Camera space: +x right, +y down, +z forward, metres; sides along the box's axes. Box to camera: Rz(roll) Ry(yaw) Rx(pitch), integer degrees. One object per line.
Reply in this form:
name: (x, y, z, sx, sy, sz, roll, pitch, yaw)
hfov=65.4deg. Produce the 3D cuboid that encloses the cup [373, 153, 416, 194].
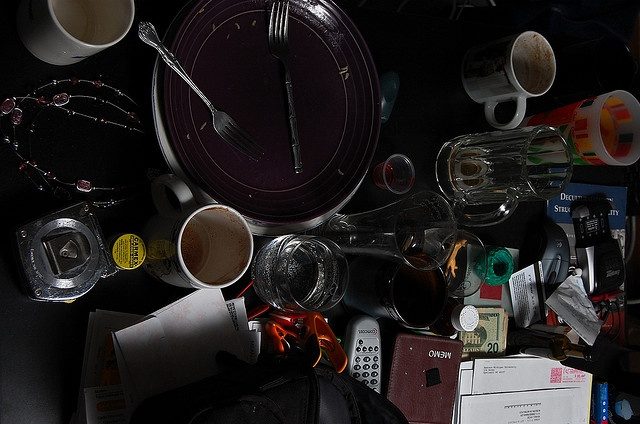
cup: (0.185, -0.091, 1.273, 0.097, 0.070, 0.105, -2, 95, -26)

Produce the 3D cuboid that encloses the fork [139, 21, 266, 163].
fork: (-0.253, -0.260, 1.052, 0.051, 0.044, 0.381, -45, 114, -18)

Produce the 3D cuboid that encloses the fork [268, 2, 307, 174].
fork: (-0.074, -0.267, 1.141, 0.052, 0.045, 0.415, -7, 98, -27)

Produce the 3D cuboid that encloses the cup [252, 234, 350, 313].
cup: (-0.048, 0.177, 1.215, 0.236, 0.230, 0.259, 4, 79, -19)

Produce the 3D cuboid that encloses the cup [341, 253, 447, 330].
cup: (0.185, 0.190, 1.174, 0.242, 0.236, 0.148, 17, 71, -47)

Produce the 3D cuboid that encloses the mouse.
mouse: (0.621, 0.131, 1.403, 0.117, 0.066, 0.218, -3, 100, -31)

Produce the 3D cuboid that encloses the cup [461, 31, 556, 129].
cup: (0.461, -0.325, 1.264, 0.134, 0.151, 0.227, 9, 79, -28)
